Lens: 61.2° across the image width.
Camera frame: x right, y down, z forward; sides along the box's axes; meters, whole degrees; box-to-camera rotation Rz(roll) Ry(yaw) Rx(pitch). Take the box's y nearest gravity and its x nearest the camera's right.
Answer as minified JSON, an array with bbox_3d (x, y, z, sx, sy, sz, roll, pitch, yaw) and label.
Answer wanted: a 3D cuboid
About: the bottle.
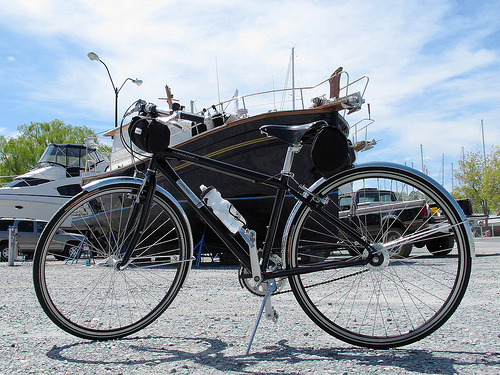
[{"bbox_3d":[-0.197,0.172,3.131,0.333,0.366,0.105,-1,-3,-4],"label":"bottle"}]
